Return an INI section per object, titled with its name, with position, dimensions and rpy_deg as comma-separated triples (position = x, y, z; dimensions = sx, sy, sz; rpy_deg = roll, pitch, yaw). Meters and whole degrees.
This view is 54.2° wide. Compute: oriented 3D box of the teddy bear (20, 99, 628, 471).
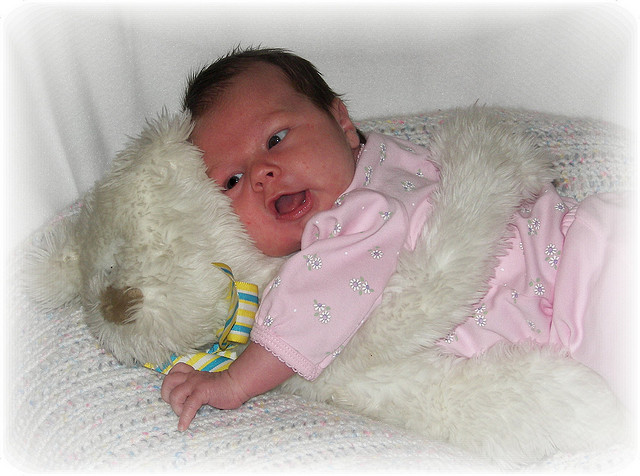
[teddy bear]
position = 0.086, 0.169, 1.662
dimensions = 1.178, 0.462, 0.770
rpy_deg = 18, 73, 21
